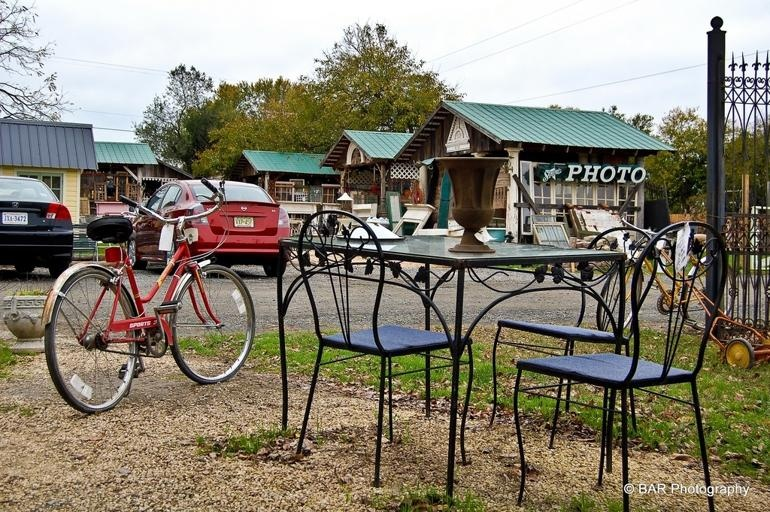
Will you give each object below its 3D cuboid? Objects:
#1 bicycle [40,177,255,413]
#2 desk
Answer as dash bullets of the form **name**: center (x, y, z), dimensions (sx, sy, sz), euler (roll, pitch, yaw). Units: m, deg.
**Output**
- **bicycle**: center (-2.110, 0.425, 6.652), dimensions (0.614, 1.606, 1.918), euler (12, 15, 43)
- **desk**: center (0.341, 1.240, 5.997), dimensions (1.903, 2.059, 2.695), euler (3, -2, -32)
